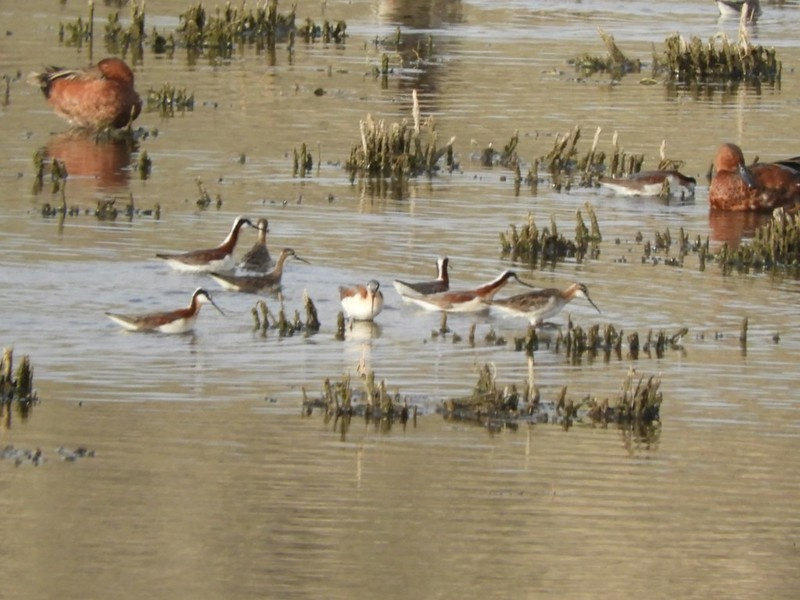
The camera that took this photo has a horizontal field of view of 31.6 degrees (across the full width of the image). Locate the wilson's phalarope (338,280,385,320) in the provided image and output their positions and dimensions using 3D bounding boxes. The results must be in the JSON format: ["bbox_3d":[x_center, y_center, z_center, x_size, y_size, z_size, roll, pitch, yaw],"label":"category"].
[{"bbox_3d":[-0.458,-0.010,17.176,0.332,0.414,0.642,-6,15,-22],"label":"wilson's phalarope"}]

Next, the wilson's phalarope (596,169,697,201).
[{"bbox_3d":[4.557,-2.099,26.012,1.145,0.434,0.378,17,-7,-4],"label":"wilson's phalarope"}]
